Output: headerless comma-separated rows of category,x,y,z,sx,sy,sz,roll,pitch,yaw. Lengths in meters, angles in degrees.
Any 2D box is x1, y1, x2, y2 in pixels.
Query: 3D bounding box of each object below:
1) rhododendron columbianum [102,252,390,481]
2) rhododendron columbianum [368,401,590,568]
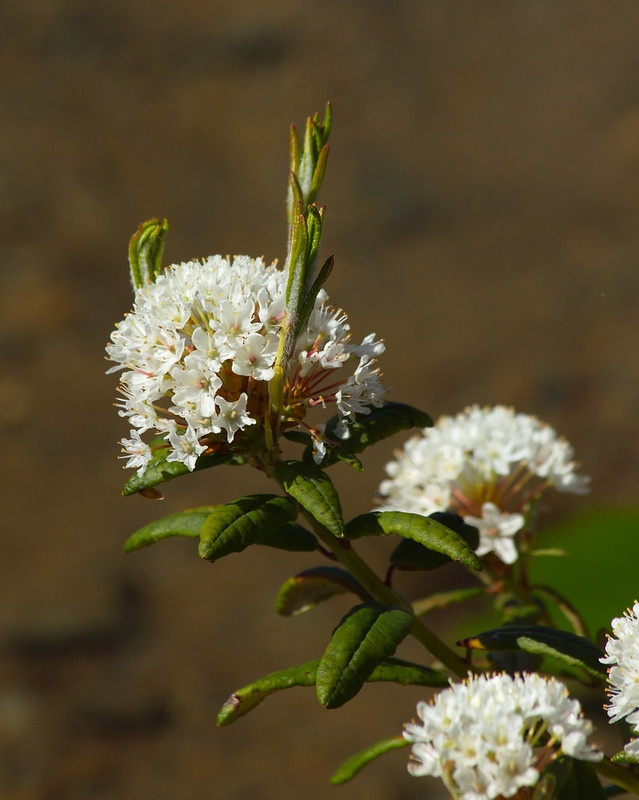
rhododendron columbianum,-0.172,-0.043,1.566,0.443,0.380,0.360,7,-63,-8
rhododendron columbianum,0.342,0.145,1.919,0.399,0.351,0.346,-8,-59,24
